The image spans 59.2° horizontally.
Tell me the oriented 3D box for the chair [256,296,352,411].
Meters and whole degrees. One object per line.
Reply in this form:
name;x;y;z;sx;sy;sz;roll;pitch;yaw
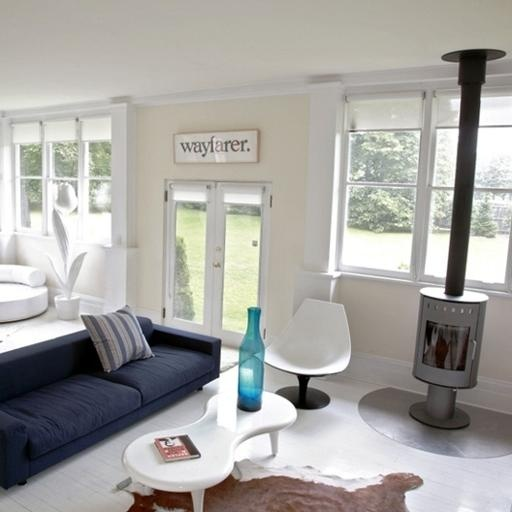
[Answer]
chair;0.508;0.851;4.051;0.800;0.828;0.820;8;18;26

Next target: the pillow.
pillow;-1.098;0.671;3.630;0.314;0.390;0.554;3;4;17

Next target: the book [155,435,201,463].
book;-0.413;0.993;2.345;0.197;0.027;0.242;-1;8;-25

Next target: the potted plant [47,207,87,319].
potted plant;-2.516;0.084;6.036;0.449;1.446;0.958;-1;9;-25
